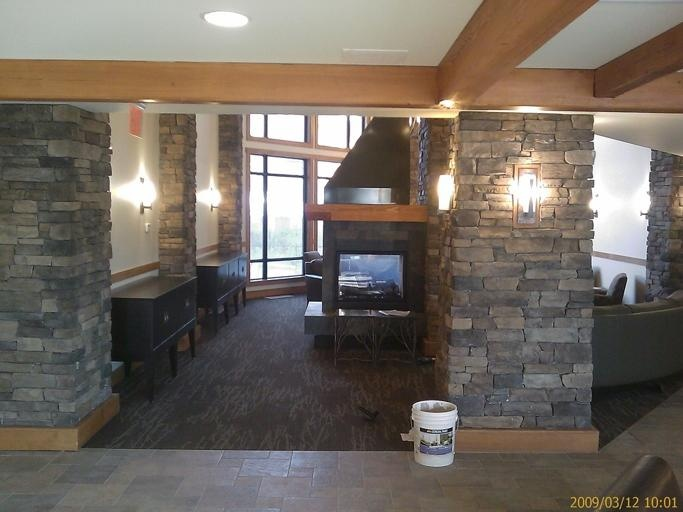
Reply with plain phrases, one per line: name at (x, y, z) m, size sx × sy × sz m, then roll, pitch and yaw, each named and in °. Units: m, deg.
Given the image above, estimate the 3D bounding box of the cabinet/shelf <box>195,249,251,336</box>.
cabinet/shelf at (-1.969, 0.494, 8.607) m, size 0.597 × 0.931 × 2.099 m, roll 1°, pitch 6°, yaw 1°

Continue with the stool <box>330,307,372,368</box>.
stool at (0.133, 1.012, 7.252) m, size 0.502 × 0.502 × 0.754 m, roll 1°, pitch 12°, yaw -1°

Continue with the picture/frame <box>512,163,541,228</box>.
picture/frame at (1.609, -0.522, 4.850) m, size 0.264 × 0.549 × 0.043 m, roll -3°, pitch 7°, yaw -18°

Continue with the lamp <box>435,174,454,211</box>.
lamp at (0.956, -0.573, 5.099) m, size 0.120 × 0.356 × 0.285 m, roll 2°, pitch 13°, yaw 3°

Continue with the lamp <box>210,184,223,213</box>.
lamp at (-2.107, -0.972, 9.212) m, size 0.156 × 0.424 × 0.485 m, roll -1°, pitch 12°, yaw -8°

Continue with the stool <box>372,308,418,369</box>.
stool at (0.698, 1.038, 7.245) m, size 0.645 × 0.550 × 0.602 m, roll 0°, pitch 4°, yaw 4°

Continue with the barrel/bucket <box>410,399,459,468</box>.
barrel/bucket at (0.805, 1.523, 4.863) m, size 0.471 × 0.417 × 0.522 m, roll 0°, pitch -2°, yaw 13°

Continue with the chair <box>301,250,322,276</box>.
chair at (-0.520, 0.108, 10.123) m, size 0.466 × 0.418 × 0.478 m, roll 0°, pitch 4°, yaw -42°

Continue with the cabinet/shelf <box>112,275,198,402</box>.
cabinet/shelf at (-2.002, 0.861, 5.825) m, size 0.480 × 0.757 × 1.279 m, roll -1°, pitch 7°, yaw -2°
